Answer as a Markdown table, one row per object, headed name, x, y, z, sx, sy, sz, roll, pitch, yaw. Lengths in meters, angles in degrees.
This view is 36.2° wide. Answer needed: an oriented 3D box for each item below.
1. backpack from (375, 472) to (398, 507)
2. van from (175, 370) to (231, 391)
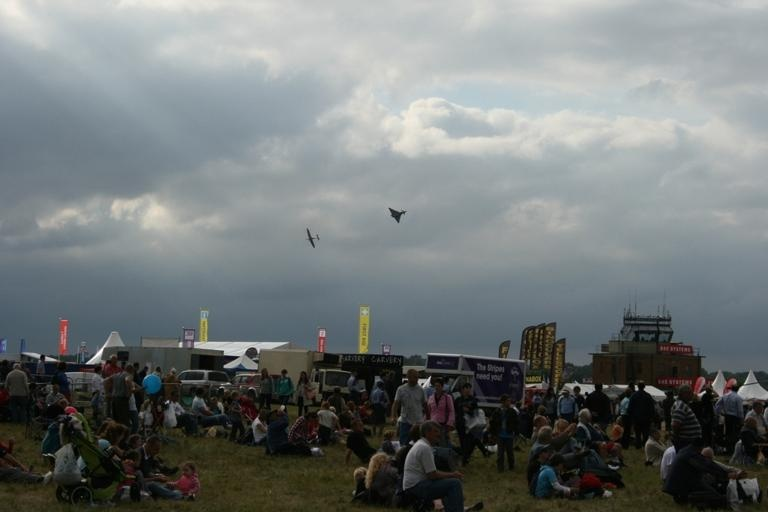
| name | x | y | z | sx | sy | sz | roll | pitch | yaw |
| --- | --- | --- | --- | --- | --- | --- | --- | --- | --- |
| backpack | 0.173 | 6.146 | 31.092 | 0.850 | 0.887 | 0.461 | -4 | -9 | 41 |
| van | -8.129 | 5.735 | 52.290 | 2.050 | 0.946 | 1.178 | 3 | 0 | 30 |
